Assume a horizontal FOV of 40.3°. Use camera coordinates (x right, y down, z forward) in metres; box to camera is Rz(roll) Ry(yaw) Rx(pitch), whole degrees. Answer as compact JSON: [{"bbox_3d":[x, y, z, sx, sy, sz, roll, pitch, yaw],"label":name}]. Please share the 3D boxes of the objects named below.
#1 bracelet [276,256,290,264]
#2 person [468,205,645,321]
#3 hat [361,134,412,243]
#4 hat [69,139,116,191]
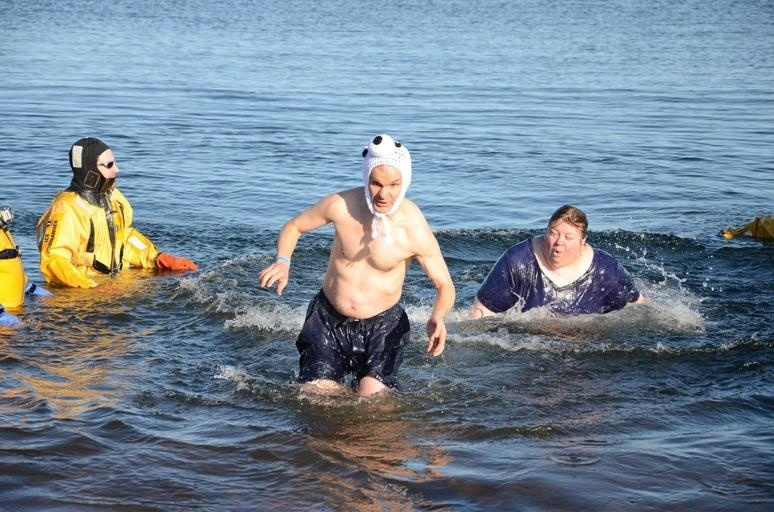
[{"bbox_3d":[-1.105,0.050,11.312,0.112,0.034,0.108,14,-1,-37],"label":"bracelet"},{"bbox_3d":[2.304,0.239,14.004,2.590,1.175,0.973,2,10,-9],"label":"person"},{"bbox_3d":[-0.038,-0.732,11.170,0.535,1.113,0.594,8,20,-3],"label":"hat"},{"bbox_3d":[-4.058,-1.264,14.573,0.586,0.693,0.390,10,20,5],"label":"hat"}]
